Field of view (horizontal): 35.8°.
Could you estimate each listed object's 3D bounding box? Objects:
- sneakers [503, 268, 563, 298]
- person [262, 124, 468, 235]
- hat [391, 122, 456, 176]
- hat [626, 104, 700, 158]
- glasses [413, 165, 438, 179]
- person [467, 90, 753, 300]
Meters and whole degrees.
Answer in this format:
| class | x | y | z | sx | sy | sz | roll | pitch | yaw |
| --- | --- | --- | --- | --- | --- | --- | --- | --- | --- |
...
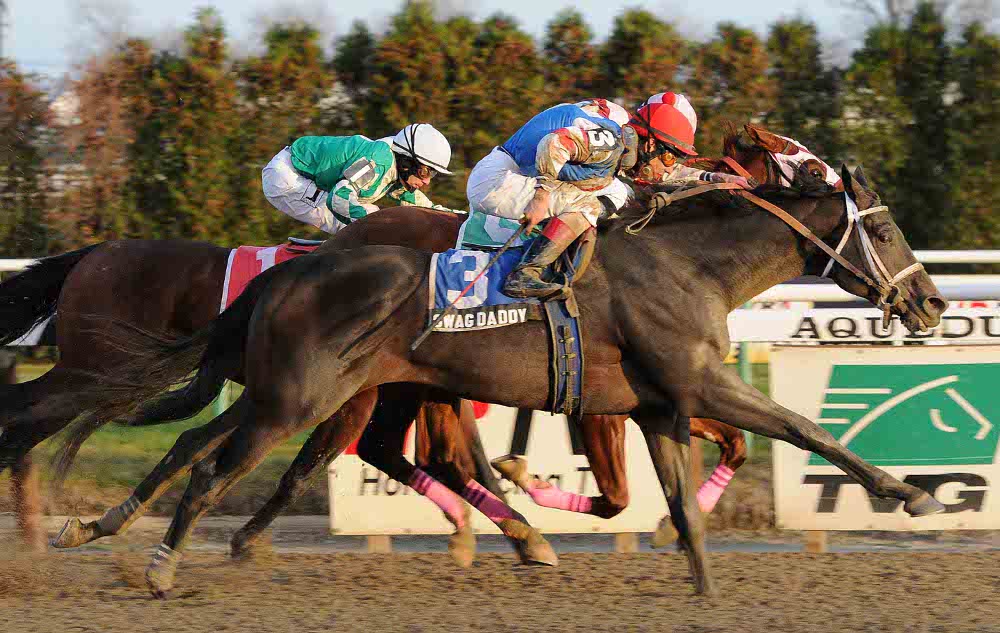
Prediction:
| class | x | y | z | sx | sy | sz | roll | pitch | yaw |
| --- | --- | --- | --- | --- | --- | --- | --- | --- | --- |
| sneakers | 0.183 | -0.178 | 8.269 | 0.318 | 0.166 | 0.088 | 1 | -4 | 0 |
| person | -0.793 | -0.860 | 9.489 | 1.309 | 0.457 | 0.580 | 7 | -10 | -13 |
| hat | -0.427 | -1.038 | 9.349 | 0.422 | 0.205 | 0.281 | 22 | 23 | 6 |
| hat | 0.904 | -1.045 | 8.541 | 0.405 | 0.175 | 0.257 | 24 | 27 | 10 |
| glasses | -0.444 | -0.876 | 9.331 | 0.121 | 0.034 | 0.083 | -5 | -26 | 35 |
| person | 0.491 | -0.714 | 8.678 | 1.774 | 0.986 | 0.730 | -2 | 14 | -28 |
